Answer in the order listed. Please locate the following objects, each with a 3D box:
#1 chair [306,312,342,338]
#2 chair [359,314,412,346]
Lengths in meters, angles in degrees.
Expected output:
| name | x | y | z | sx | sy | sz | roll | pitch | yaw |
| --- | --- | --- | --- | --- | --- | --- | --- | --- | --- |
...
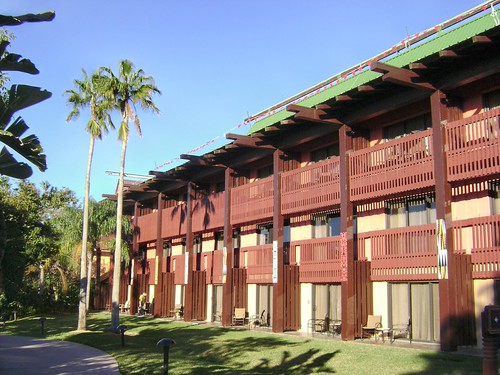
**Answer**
| name | x | y | z | sx | sy | sz | roll | pitch | yaw |
| --- | --- | --- | --- | --- | --- | --- | --- | --- | --- |
| chair | 3.861 | 7.129 | 26.471 | 1.073 | 1.104 | 2.682 | 8 | -20 | -21 |
| chair | 6.129 | 6.379 | 23.180 | 1.214 | 1.288 | 2.412 | 18 | -25 | -42 |
